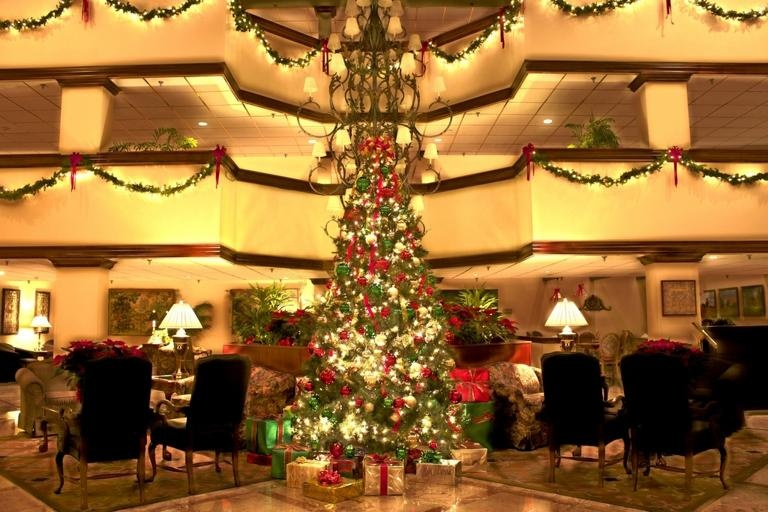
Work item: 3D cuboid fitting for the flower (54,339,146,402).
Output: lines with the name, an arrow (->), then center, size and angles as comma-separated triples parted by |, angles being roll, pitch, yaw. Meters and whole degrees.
flower -> -3.648, 1.339, 8.156 | 0.918, 0.607, 0.928 | -1, -4, 15

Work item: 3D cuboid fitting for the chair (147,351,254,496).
chair -> -2.325, 2.125, 8.246 | 1.246, 1.699, 0.625 | -3, 8, -13

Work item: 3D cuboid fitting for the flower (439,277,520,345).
flower -> 1.578, 1.006, 10.435 | 1.239, 1.044, 1.355 | 0, -4, 12

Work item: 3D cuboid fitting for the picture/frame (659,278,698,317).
picture/frame -> 5.204, 0.725, 11.390 | 0.717, 0.678, 0.072 | 1, -6, -5

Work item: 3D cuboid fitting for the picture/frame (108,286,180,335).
picture/frame -> -6.577, 1.503, 17.488 | 1.811, 1.221, 0.067 | 0, 0, 4
